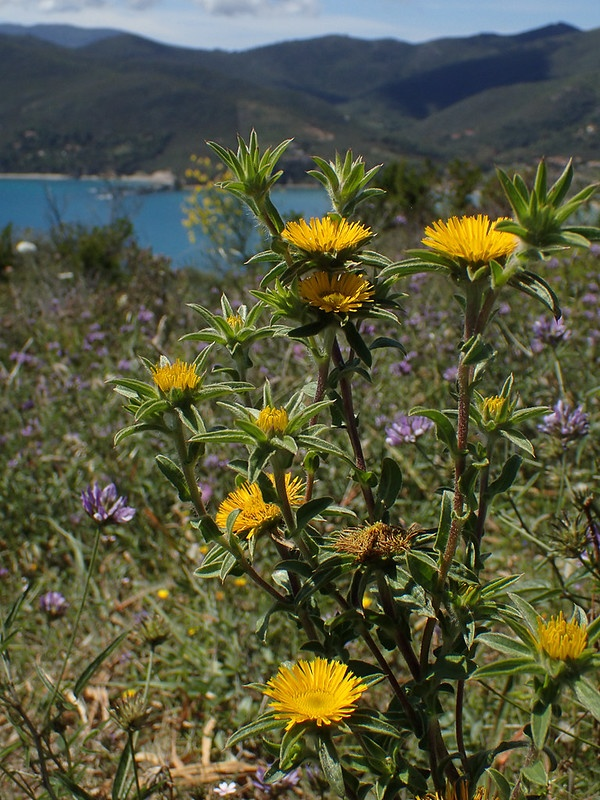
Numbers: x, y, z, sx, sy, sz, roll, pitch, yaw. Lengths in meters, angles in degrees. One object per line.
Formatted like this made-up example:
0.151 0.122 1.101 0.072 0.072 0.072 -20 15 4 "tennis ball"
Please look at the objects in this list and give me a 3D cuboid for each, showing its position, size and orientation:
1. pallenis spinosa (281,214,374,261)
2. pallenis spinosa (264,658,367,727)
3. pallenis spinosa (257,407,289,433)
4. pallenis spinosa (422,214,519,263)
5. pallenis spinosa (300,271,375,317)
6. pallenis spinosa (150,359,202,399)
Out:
0.053 -0.346 1.657 0.189 0.093 0.135 -9 25 -7 "pallenis spinosa"
0.027 0.542 1.537 0.160 0.058 0.151 8 32 23 "pallenis spinosa"
-0.053 0.037 1.582 0.055 0.051 0.049 -5 56 -2 "pallenis spinosa"
0.322 -0.309 1.502 0.176 0.093 0.219 1 25 14 "pallenis spinosa"
0.071 -0.221 1.621 0.116 0.050 0.103 -9 45 -8 "pallenis spinosa"
-0.277 -0.032 1.714 0.098 0.070 0.089 -9 49 -36 "pallenis spinosa"
